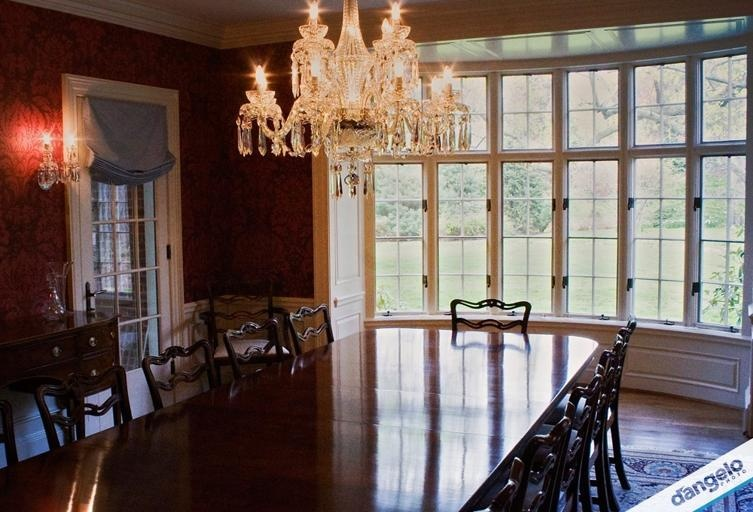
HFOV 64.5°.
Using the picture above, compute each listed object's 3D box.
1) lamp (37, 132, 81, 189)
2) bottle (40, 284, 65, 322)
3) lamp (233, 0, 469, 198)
[{"bbox_3d":[-2.598,-0.745,4.901,0.327,0.322,0.105,-5,-7,-17],"label":"lamp"},{"bbox_3d":[-2.527,0.377,4.801,0.261,0.289,0.268,0,0,-18],"label":"bottle"},{"bbox_3d":[-0.267,-1.279,4.240,1.396,1.705,2.149,-2,6,-12],"label":"lamp"}]
